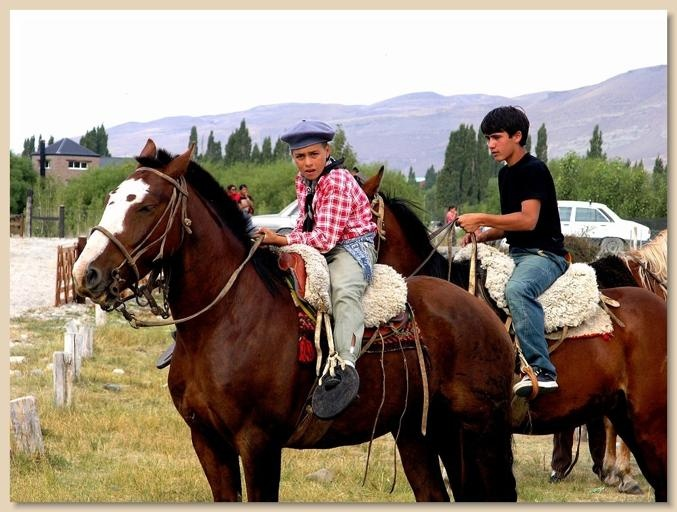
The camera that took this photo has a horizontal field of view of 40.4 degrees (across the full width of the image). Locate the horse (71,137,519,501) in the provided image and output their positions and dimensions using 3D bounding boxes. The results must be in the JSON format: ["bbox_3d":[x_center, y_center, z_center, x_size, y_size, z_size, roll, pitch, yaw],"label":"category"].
[{"bbox_3d":[-0.173,1.095,8.326,4.667,3.564,1.350,5,-7,-33],"label":"horse"}]

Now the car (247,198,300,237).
[{"bbox_3d":[-1.732,-0.907,21.398,1.740,0.647,0.823,2,3,3],"label":"car"}]

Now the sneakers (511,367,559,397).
[{"bbox_3d":[1.840,1.178,8.573,0.421,0.268,0.204,1,-25,-13],"label":"sneakers"}]
